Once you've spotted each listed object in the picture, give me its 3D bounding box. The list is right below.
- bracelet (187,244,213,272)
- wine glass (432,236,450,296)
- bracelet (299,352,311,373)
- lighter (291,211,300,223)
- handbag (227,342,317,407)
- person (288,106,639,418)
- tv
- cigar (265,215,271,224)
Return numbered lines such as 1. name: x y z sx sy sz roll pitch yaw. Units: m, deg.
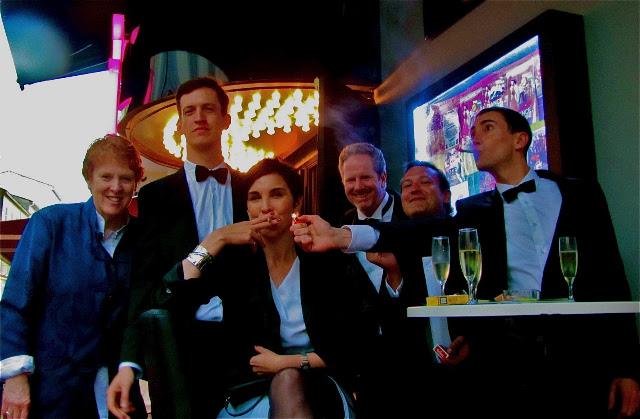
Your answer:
1. bracelet: -0.764 0.309 3.387 0.176 0.172 0.107 14 -14 -15
2. wine glass: 0.731 0.336 3.153 0.101 0.355 0.171 -6 -7 12
3. bracelet: -0.085 0.926 3.177 0.074 0.071 0.073 -2 -12 -4
4. lighter: -0.158 0.049 3.542 0.055 0.076 0.028 3 -4 -2
5. handbag: -0.352 0.983 3.258 0.319 0.407 0.116 0 -12 25
6. person: 1.004 0.401 3.501 1.610 2.284 1.166 14 -30 -17
7. tv: 1.552 -0.742 4.722 0.242 1.286 1.822 -3 -4 -19
8. cigar: -0.328 0.054 3.472 0.042 0.042 0.026 -21 -24 31
